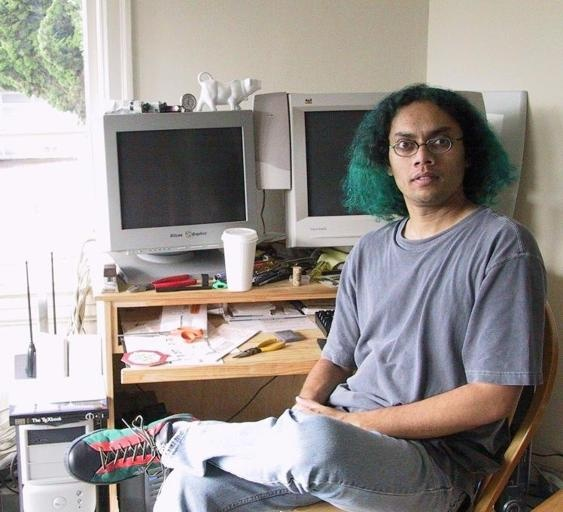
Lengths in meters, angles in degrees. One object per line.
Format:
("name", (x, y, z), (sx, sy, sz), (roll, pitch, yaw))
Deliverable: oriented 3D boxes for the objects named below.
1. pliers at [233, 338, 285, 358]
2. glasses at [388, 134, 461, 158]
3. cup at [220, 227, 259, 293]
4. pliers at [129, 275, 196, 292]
("pliers", (-0.063, 0.265, 1.632), (0.142, 0.016, 0.050), (-10, 20, -27))
("glasses", (0.332, -0.260, 1.327), (0.147, 0.047, 0.113), (1, 18, 3))
("cup", (-0.138, 0.011, 1.799), (0.119, 0.191, 0.099), (0, 15, -10))
("pliers", (-0.364, 0.086, 1.745), (0.150, 0.021, 0.071), (-7, 12, -22))
